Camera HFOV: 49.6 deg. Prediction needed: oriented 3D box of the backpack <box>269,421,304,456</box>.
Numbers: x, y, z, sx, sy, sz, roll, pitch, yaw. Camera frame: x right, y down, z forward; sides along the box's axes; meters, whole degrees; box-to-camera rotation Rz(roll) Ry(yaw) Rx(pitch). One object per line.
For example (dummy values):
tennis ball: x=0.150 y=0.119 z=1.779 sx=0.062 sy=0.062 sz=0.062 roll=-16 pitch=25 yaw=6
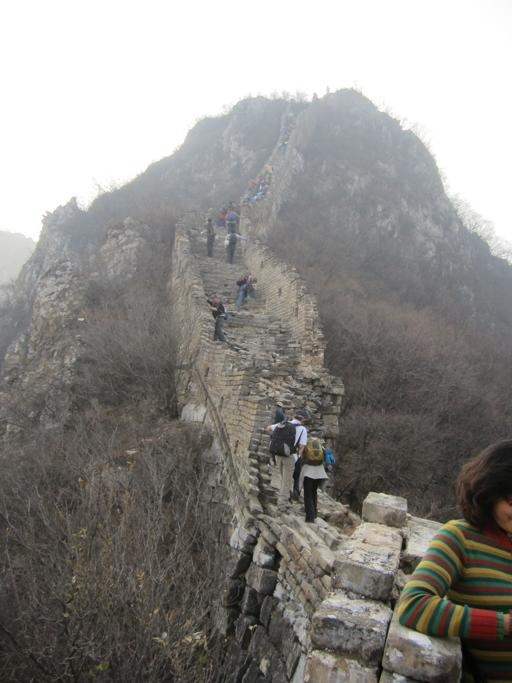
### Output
backpack: x=0.371 y=1.204 z=6.645 sx=0.395 sy=0.429 sz=0.328 roll=6 pitch=0 yaw=0

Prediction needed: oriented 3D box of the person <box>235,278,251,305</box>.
person: x=-0.324 y=-1.321 z=14.962 sx=0.354 sy=0.798 sz=0.917 roll=5 pitch=0 yaw=2

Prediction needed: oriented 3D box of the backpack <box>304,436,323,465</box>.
backpack: x=0.664 y=1.297 z=6.371 sx=0.161 sy=0.302 sz=0.268 roll=1 pitch=19 yaw=5

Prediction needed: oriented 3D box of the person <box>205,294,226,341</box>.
person: x=-0.892 y=-0.463 z=12.066 sx=0.287 sy=0.418 sz=0.821 roll=7 pitch=23 yaw=-6
